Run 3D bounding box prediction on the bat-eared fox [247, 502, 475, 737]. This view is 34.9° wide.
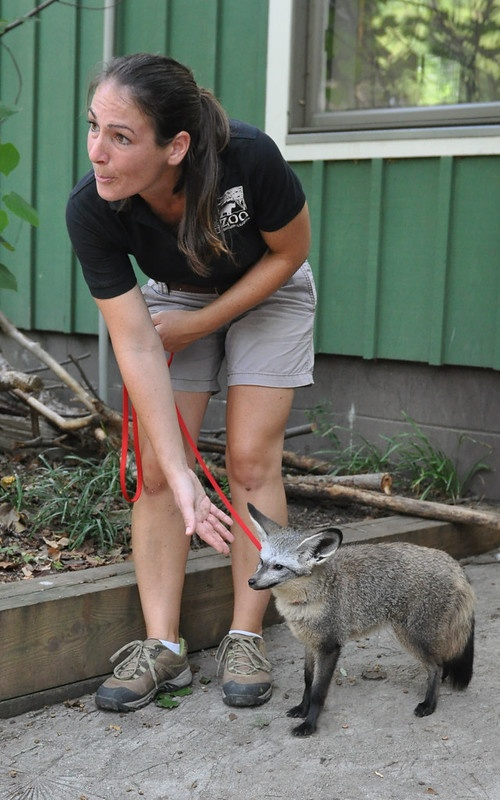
[{"bbox_3d":[0.367,0.694,2.605,0.875,0.690,0.291,2,5,-23],"label":"bat-eared fox"}]

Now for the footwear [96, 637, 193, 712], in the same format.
[{"bbox_3d":[-0.337,0.858,2.530,0.166,0.179,0.390,-7,-6,34],"label":"footwear"}]

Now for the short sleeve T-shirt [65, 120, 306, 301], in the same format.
[{"bbox_3d":[-0.181,-0.570,2.432,0.636,0.517,0.476,2,5,33],"label":"short sleeve T-shirt"}]

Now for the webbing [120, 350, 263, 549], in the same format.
[{"bbox_3d":[-0.254,0.287,3.115,0.465,0.097,1.525,12,9,-10],"label":"webbing"}]

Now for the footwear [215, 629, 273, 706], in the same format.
[{"bbox_3d":[-0.016,0.848,2.594,0.176,0.153,0.380,3,7,0],"label":"footwear"}]
